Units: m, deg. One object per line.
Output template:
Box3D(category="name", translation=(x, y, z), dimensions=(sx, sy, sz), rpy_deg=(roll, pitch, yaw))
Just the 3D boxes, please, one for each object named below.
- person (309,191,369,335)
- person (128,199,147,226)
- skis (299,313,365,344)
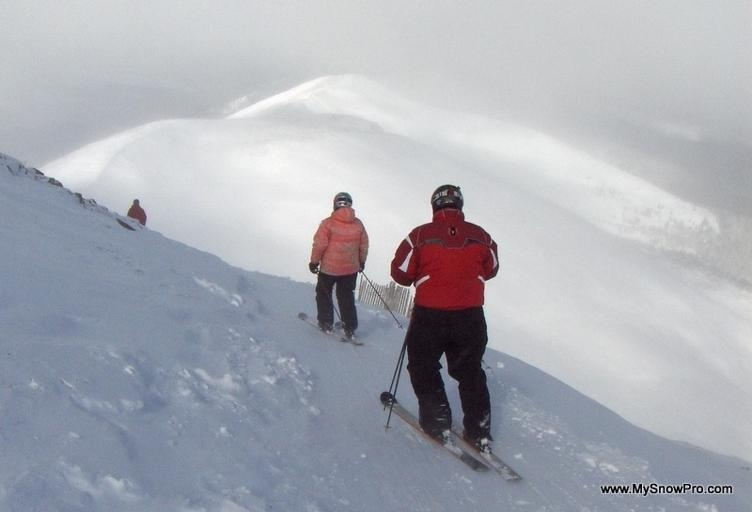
Box3D(category="person", translation=(-0.540, 0.121, 10.423), dimensions=(0.774, 2.128, 0.587), rpy_deg=(7, 18, -1))
Box3D(category="person", translation=(-5.815, -1.086, 17.854), dimensions=(0.359, 0.878, 1.090), rpy_deg=(0, 20, -20))
Box3D(category="skis", translation=(-0.651, 1.041, 10.424), dimensions=(0.161, 0.070, 0.772), rpy_deg=(-14, 29, -39))
